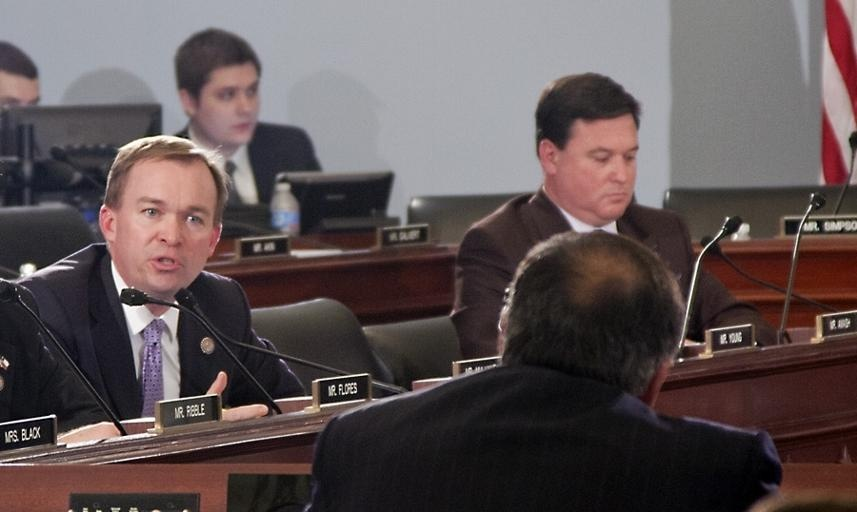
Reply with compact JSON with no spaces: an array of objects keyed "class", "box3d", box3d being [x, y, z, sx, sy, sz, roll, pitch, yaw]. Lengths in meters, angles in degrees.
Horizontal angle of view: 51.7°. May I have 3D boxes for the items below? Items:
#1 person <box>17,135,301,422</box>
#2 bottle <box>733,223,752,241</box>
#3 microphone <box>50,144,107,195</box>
[{"class":"person","box3d":[-1.005,0.090,3.170,1.203,0.879,0.621,-1,-7,-34]},{"class":"bottle","box3d":[1.592,-0.117,4.495,0.075,0.072,0.079,18,36,26]},{"class":"microphone","box3d":[-1.724,-0.421,4.341,0.110,0.118,0.700,-18,32,-38]}]
